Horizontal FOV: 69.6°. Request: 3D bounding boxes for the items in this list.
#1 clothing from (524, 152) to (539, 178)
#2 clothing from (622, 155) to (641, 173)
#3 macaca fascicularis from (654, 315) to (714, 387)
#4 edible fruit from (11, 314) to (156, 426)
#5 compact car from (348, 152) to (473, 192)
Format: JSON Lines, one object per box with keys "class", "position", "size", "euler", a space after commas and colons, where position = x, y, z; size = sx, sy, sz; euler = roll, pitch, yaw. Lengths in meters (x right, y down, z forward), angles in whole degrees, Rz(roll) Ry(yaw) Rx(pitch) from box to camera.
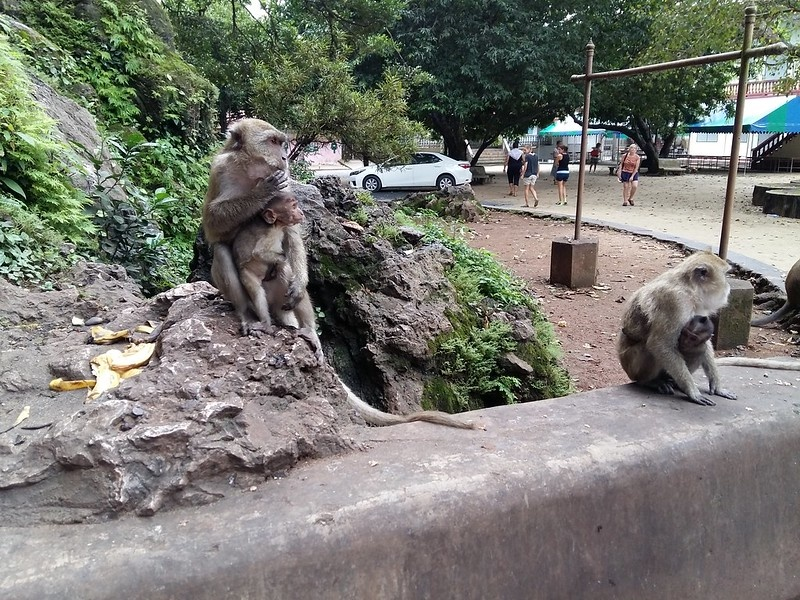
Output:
{"class": "clothing", "position": [3.813, -3.929, 16.732], "size": [0.339, 0.656, 0.644], "euler": [3, 18, 10]}
{"class": "clothing", "position": [6.510, -3.850, 16.235], "size": [0.457, 0.556, 0.916], "euler": [6, 19, 19]}
{"class": "macaca fascicularis", "position": [2.220, 0.379, 4.404], "size": [0.290, 0.636, 0.550], "euler": [-3, 14, 20]}
{"class": "edible fruit", "position": [-1.874, 0.411, 3.645], "size": [0.610, 0.198, 1.305], "euler": [-1, 18, -2]}
{"class": "compact car", "position": [0.398, -4.805, 19.683], "size": [4.157, 1.482, 1.974], "euler": [2, 7, 0]}
